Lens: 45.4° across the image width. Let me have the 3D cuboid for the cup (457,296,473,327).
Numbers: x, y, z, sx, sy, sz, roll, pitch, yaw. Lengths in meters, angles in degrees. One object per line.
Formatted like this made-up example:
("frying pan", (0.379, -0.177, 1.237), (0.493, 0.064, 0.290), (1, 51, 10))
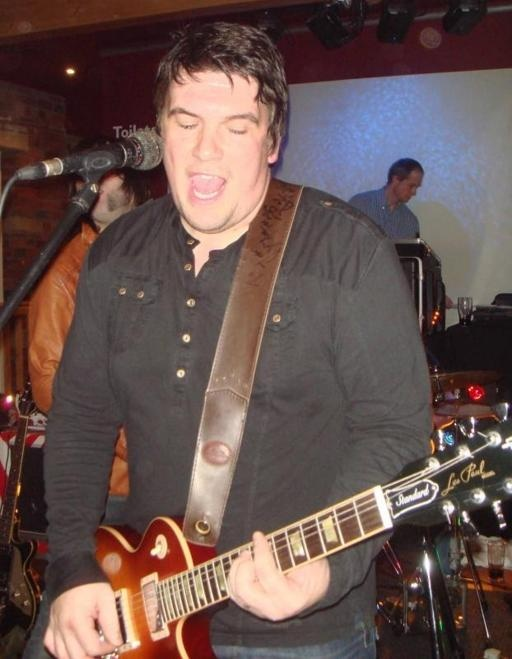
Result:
("cup", (1.692, -0.149, 4.955), (0.128, 0.237, 0.550), (6, 9, 18))
